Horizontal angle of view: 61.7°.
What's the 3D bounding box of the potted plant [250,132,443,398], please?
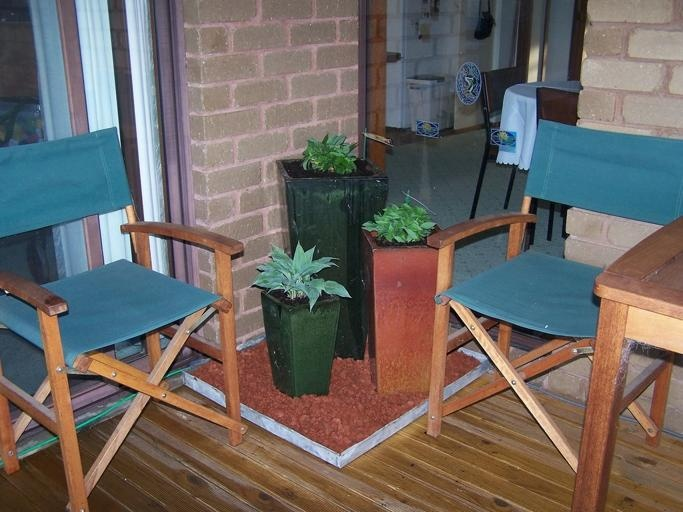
[{"bbox_3d":[0.027,-0.017,2.405,0.502,0.905,0.672,-11,26,-24],"label":"potted plant"}]
